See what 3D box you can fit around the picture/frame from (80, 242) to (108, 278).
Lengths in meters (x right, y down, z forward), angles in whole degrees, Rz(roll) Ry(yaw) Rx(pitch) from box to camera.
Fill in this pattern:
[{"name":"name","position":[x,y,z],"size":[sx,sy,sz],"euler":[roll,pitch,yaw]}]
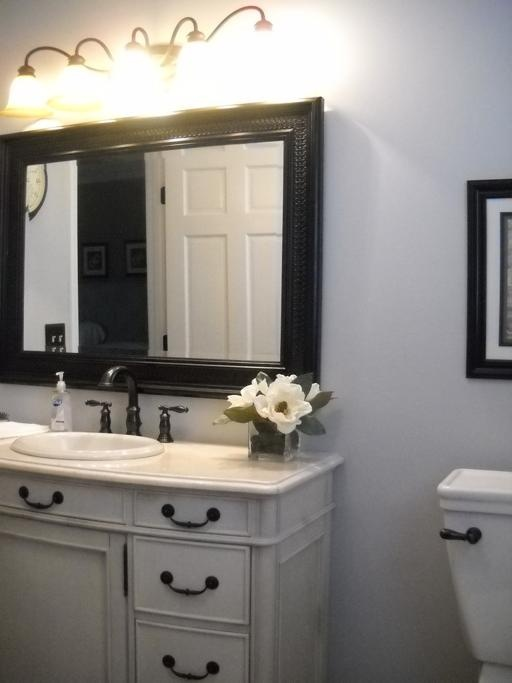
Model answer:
[{"name":"picture/frame","position":[-0.497,-0.253,1.822],"size":[0.094,0.127,0.007],"euler":[1,2,24]}]

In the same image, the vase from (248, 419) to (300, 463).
[{"name":"vase","position":[0.044,0.233,1.417],"size":[0.089,0.107,0.095],"euler":[0,-5,21]}]

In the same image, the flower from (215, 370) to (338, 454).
[{"name":"flower","position":[0.052,0.159,1.389],"size":[0.195,0.167,0.210],"euler":[0,1,18]}]
